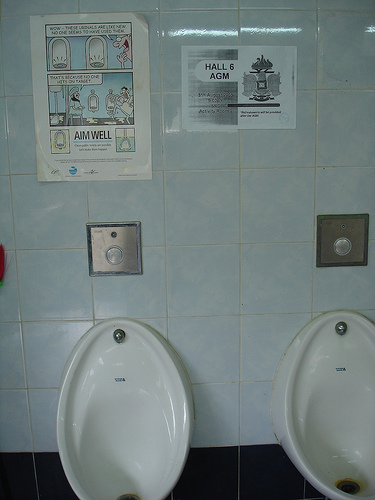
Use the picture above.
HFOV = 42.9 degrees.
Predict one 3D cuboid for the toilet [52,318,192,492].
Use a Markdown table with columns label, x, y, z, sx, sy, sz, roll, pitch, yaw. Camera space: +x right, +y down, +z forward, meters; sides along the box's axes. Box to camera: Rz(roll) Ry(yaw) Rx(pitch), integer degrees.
| label | x | y | z | sx | sy | sz | roll | pitch | yaw |
| --- | --- | --- | --- | --- | --- | --- | --- | --- | --- |
| toilet | -0.196 | 0.490 | 1.466 | 0.405 | 0.471 | 0.358 | -2 | 10 | -9 |
